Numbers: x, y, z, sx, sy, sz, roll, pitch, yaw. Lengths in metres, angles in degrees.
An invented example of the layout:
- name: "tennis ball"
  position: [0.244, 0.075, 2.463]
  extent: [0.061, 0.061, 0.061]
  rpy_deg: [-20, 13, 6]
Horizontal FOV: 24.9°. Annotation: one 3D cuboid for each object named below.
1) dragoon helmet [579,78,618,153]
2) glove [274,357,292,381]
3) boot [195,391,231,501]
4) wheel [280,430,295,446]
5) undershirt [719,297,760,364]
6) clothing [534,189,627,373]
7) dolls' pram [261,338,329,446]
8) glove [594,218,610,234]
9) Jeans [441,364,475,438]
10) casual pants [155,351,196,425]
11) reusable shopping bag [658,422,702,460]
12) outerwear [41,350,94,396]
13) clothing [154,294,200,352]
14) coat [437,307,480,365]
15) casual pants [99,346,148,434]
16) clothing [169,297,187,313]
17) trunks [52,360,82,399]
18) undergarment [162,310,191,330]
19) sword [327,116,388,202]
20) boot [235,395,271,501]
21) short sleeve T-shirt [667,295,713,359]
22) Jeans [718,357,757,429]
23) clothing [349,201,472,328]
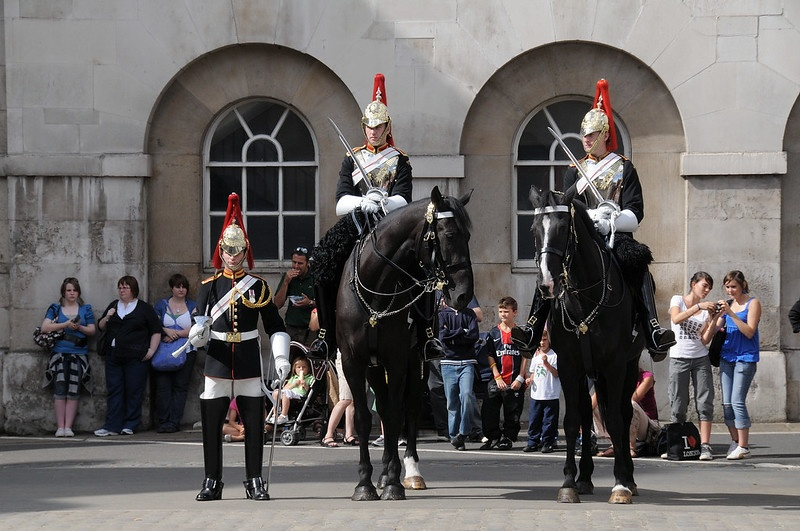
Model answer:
- name: "dragoon helmet"
  position: [2.737, -1.947, 24.370]
  extent: [0.537, 1.158, 0.530]
  rpy_deg: [-6, -13, 41]
- name: "glove"
  position: [-1.467, 1.291, 22.923]
  extent: [0.220, 0.269, 0.115]
  rpy_deg: [-1, 2, 34]
- name: "boot"
  position: [-2.409, 2.333, 23.142]
  extent: [0.429, 1.317, 0.345]
  rpy_deg: [0, -5, -6]
- name: "wheel"
  position: [-1.678, 2.552, 26.839]
  extent: [0.250, 0.228, 0.101]
  rpy_deg: [-6, -2, 23]
- name: "undershirt"
  position: [4.947, 1.046, 26.199]
  extent: [0.535, 0.698, 0.208]
  rpy_deg: [-1, -5, 5]
- name: "clothing"
  position: [2.274, 0.094, 22.905]
  extent: [0.877, 2.682, 1.435]
  rpy_deg: [-8, 10, 16]
- name: "dolls' pram"
  position: [-1.590, 1.845, 27.188]
  extent: [0.988, 1.448, 1.050]
  rpy_deg: [-11, 11, -40]
- name: "glove"
  position: [2.675, -0.537, 23.599]
  extent: [0.166, 0.195, 0.203]
  rpy_deg: [-1, -7, -5]
- name: "Jeans"
  position: [0.900, 1.959, 26.764]
  extent: [0.511, 1.228, 0.411]
  rpy_deg: [-12, -18, 23]
- name: "casual pants"
  position: [-3.567, 1.953, 28.035]
  extent: [0.513, 1.241, 0.343]
  rpy_deg: [2, 12, 1]
- name: "reusable shopping bag"
  position: [4.032, 2.520, 25.853]
  extent: [0.567, 0.482, 0.195]
  rpy_deg: [0, -12, -13]
- name: "outerwear"
  position: [-5.070, 1.672, 28.149]
  extent: [0.710, 0.885, 0.552]
  rpy_deg: [5, 0, 20]
- name: "clothing"
  position: [-3.377, 0.875, 27.136]
  extent: [0.978, 0.887, 0.487]
  rpy_deg: [1, -18, -4]
- name: "coat"
  position: [0.833, 1.007, 26.902]
  extent: [0.699, 0.827, 0.470]
  rpy_deg: [-1, 0, -20]
- name: "casual pants"
  position: [-4.296, 1.876, 27.923]
  extent: [0.662, 1.360, 0.469]
  rpy_deg: [0, -6, 8]
- name: "clothing"
  position: [-3.469, 0.593, 28.112]
  extent: [0.263, 0.233, 0.066]
  rpy_deg: [-1, -4, -13]
- name: "trunks"
  position: [-5.179, 1.732, 27.895]
  extent: [0.586, 0.741, 0.429]
  rpy_deg: [4, -6, -12]
- name: "undergarment"
  position: [-3.479, 0.860, 28.167]
  extent: [0.470, 0.416, 0.244]
  rpy_deg: [0, -15, -4]
- name: "sword"
  position: [-0.596, -1.526, 25.399]
  extent: [0.253, 1.731, 0.212]
  rpy_deg: [-37, -1, 14]
- name: "boot"
  position: [-1.897, 2.329, 23.161]
  extent: [0.411, 1.331, 0.266]
  rpy_deg: [0, -5, -4]
- name: "short sleeve T-shirt"
  position: [4.147, 0.897, 26.532]
  extent: [0.524, 0.937, 0.778]
  rpy_deg: [-9, -23, 34]
- name: "Jeans"
  position: [4.892, 1.846, 26.072]
  extent: [0.518, 0.997, 0.403]
  rpy_deg: [-2, -5, 17]
- name: "clothing"
  position: [0.127, -0.104, 23.047]
  extent: [1.869, 1.759, 0.503]
  rpy_deg: [-4, -6, 39]
